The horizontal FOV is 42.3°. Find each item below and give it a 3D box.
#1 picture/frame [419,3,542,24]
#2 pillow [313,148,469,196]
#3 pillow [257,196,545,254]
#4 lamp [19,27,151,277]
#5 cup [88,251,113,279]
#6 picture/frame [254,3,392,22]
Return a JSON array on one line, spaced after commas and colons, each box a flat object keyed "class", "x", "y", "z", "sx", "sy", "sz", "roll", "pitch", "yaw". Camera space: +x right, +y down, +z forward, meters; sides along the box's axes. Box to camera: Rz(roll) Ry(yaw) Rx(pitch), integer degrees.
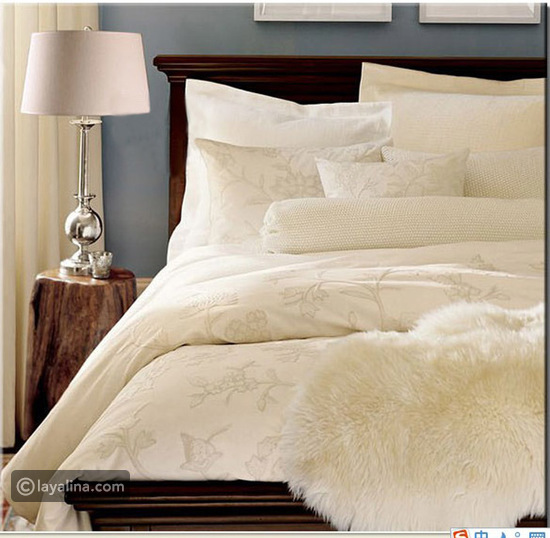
[{"class": "picture/frame", "x": 0.767, "y": -0.955, "z": 2.641, "sx": 0.468, "sy": 0.083, "sz": 0.075, "roll": 2, "pitch": -4, "yaw": -4}, {"class": "pillow", "x": 0.354, "y": -0.286, "z": 2.119, "sx": 0.460, "sy": 0.160, "sz": 0.112, "roll": 1, "pitch": -3, "yaw": 3}, {"class": "pillow", "x": 0.342, "y": -0.117, "z": 1.910, "sx": 0.754, "sy": 0.168, "sz": 0.210, "roll": 0, "pitch": -4, "yaw": 11}, {"class": "lamp", "x": -0.645, "y": -0.365, "z": 2.261, "sx": 0.406, "sy": 0.760, "sz": 0.350, "roll": -1, "pitch": -4, "yaw": 27}, {"class": "cup", "x": -0.557, "y": -0.016, "z": 2.296, "sx": 0.072, "sy": 0.095, "sz": 0.079, "roll": 2, "pitch": 1, "yaw": 0}, {"class": "picture/frame", "x": 0.181, "y": -0.955, "z": 2.621, "sx": 0.517, "sy": 0.077, "sz": 0.083, "roll": 1, "pitch": -4, "yaw": -1}]
